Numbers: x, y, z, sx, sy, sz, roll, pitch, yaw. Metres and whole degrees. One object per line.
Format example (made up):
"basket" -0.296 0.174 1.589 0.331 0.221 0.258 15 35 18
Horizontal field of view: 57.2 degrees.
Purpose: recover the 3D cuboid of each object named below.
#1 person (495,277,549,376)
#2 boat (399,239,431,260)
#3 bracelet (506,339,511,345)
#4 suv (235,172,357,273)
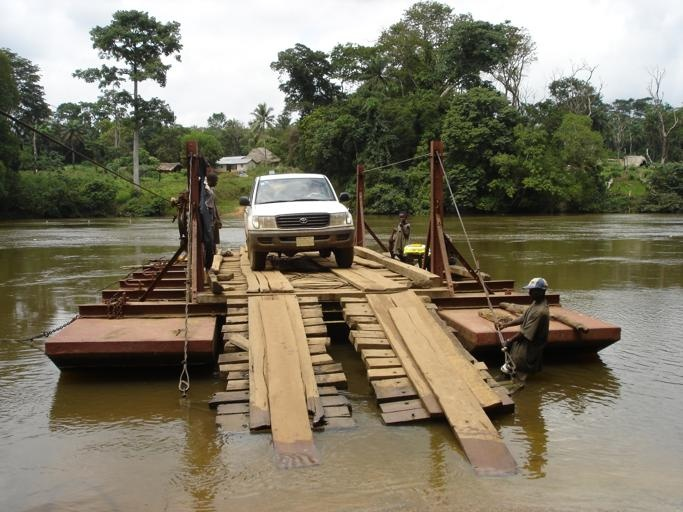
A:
"person" 2.379 0.964 8.149 0.549 1.406 0.489 2 12 13
"boat" 1.604 -0.126 14.061 0.863 0.276 0.831 0 8 10
"bracelet" 2.146 1.125 8.109 0.061 0.069 0.077 5 -36 1
"suv" -0.880 -0.809 11.671 1.483 1.156 2.559 -1 -2 -11
